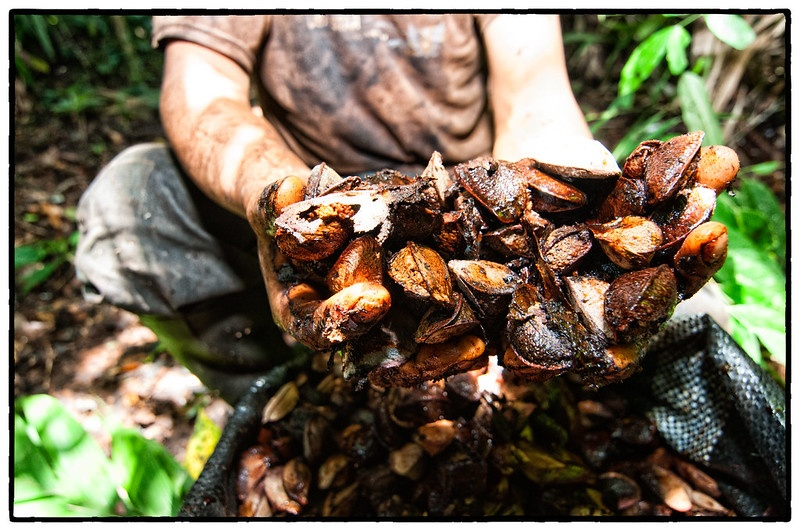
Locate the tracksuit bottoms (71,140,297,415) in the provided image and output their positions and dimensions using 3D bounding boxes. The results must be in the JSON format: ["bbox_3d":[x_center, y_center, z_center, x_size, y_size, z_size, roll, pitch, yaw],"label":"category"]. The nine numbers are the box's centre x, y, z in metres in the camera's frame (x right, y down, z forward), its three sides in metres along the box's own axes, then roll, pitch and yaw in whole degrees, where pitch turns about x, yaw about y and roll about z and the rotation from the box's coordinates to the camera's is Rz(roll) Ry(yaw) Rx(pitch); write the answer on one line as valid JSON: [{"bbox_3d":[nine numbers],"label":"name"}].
[{"bbox_3d":[-0.855,0.047,2.761,0.723,1.122,0.423,-48,20,-8],"label":"tracksuit bottoms"}]
